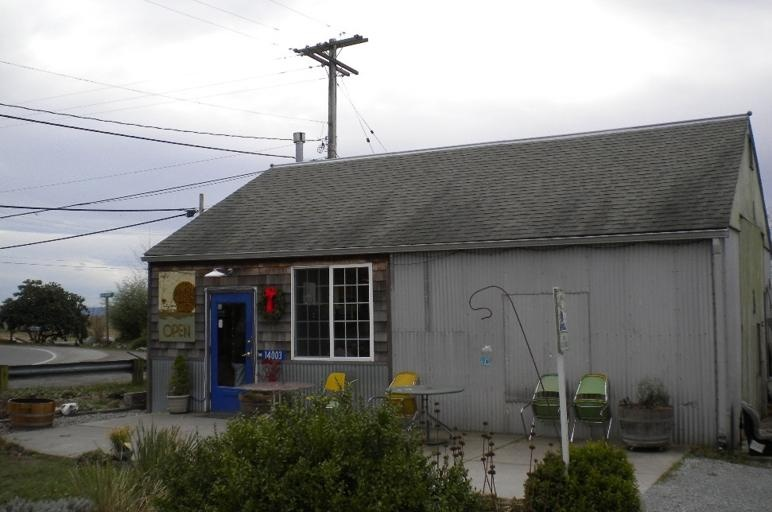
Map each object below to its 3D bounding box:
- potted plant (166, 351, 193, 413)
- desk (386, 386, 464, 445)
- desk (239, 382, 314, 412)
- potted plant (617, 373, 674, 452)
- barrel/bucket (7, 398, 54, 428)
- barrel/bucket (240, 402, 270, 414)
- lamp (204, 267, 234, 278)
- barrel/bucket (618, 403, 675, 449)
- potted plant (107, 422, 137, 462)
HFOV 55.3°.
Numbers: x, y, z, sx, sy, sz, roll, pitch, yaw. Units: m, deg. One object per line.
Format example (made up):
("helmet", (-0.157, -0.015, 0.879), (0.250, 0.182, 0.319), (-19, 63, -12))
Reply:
("potted plant", (-4.479, 2.804, 16.113), (0.505, 1.261, 0.293), (1, -8, -15))
("desk", (0.773, 2.845, 13.364), (1.187, 0.997, 2.031), (-1, -8, 5))
("desk", (-1.929, 2.471, 12.806), (1.109, 0.528, 1.125), (2, -8, -18))
("potted plant", (4.479, 2.736, 12.861), (1.084, 1.099, 0.898), (-3, -7, 16))
("barrel/bucket", (-7.137, 3.175, 14.899), (0.873, 0.561, 0.448), (-3, -8, 12))
("barrel/bucket", (-2.247, 2.653, 12.803), (0.479, 0.202, 0.357), (1, -8, -16))
("lamp", (-3.595, 0.342, 15.803), (0.626, 0.221, 0.484), (-2, -8, 9))
("barrel/bucket", (4.426, 2.880, 12.578), (0.796, 0.591, 0.716), (2, -8, -10))
("potted plant", (-4.296, 3.056, 12.055), (0.530, 0.726, 0.704), (3, -10, -29))
